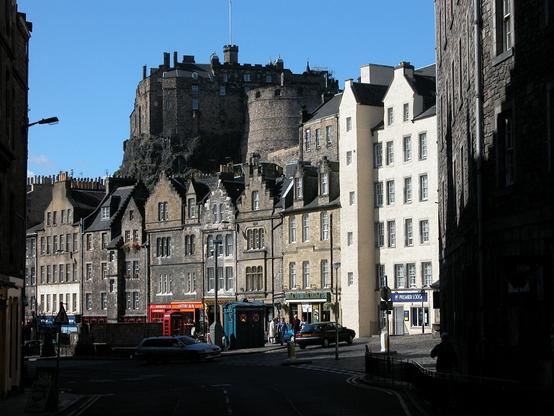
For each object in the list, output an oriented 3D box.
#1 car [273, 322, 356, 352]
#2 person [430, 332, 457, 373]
[{"bbox_3d":[2.950,8.362,71.545,3.509,1.987,4.057,-7,-13,22],"label":"car"},{"bbox_3d":[6.819,5.779,43.480,0.969,1.650,1.786,-4,-12,9],"label":"person"}]
